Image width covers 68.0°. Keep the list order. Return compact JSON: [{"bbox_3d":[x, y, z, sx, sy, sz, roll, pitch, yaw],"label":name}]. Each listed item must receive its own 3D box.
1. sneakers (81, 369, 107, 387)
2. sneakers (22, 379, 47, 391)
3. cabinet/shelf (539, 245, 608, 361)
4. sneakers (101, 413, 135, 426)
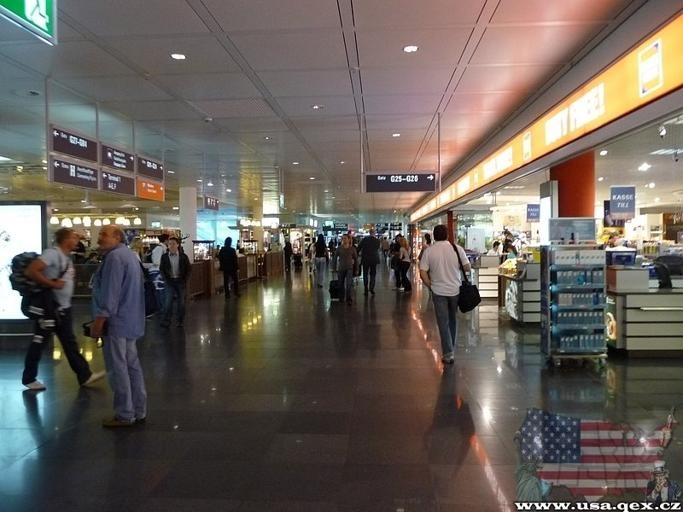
[{"bbox_3d":[-2.945,1.461,6.028,0.085,0.106,0.254,4,9,18],"label":"sneakers"},{"bbox_3d":[-3.508,1.477,5.795,0.212,0.088,0.116,3,5,2],"label":"sneakers"},{"bbox_3d":[3.273,0.803,6.902,0.808,1.583,0.912,-14,-37,34],"label":"cabinet/shelf"},{"bbox_3d":[-2.117,1.565,4.842,0.292,0.112,0.116,4,-3,1],"label":"sneakers"}]
